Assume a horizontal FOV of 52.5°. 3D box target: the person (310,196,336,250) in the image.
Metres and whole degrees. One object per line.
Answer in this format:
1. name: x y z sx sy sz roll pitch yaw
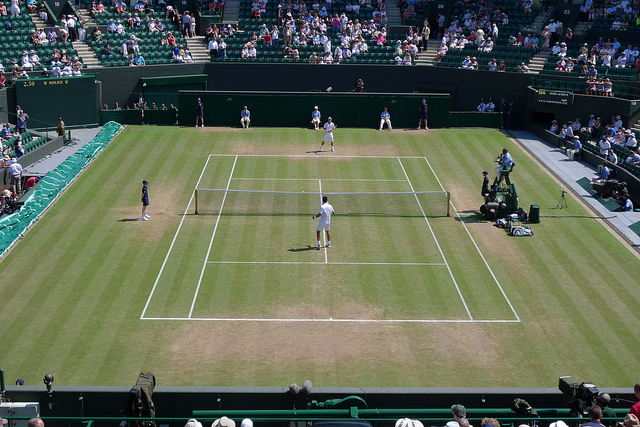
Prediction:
1. person: 0.149 0.271 32.460 0.927 2.913 1.267 1 28 0

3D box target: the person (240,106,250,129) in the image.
1. person: -5.873 -7.575 50.899 0.562 1.469 1.109 0 28 -1

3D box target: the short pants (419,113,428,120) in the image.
1. short pants: 8.159 -7.752 51.097 0.648 0.621 0.365 2 15 6

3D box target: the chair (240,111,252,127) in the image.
1. chair: -5.879 -7.511 50.982 1.027 1.228 1.355 1 -13 -3

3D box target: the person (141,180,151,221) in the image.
1. person: -9.644 -0.668 35.805 0.716 2.621 0.861 -3 40 -15

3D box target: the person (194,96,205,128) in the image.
1. person: -9.494 -7.957 50.844 0.790 2.081 0.972 -4 28 -9

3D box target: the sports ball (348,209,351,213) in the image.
1. sports ball: 1.655 -0.173 37.085 0.146 0.083 0.147 0 10 0

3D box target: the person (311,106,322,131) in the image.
1. person: -0.296 -7.512 51.064 0.684 1.800 1.250 5 28 8

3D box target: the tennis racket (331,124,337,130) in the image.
1. tennis racket: 1.115 -6.734 50.033 0.450 0.230 0.789 -7 13 3
